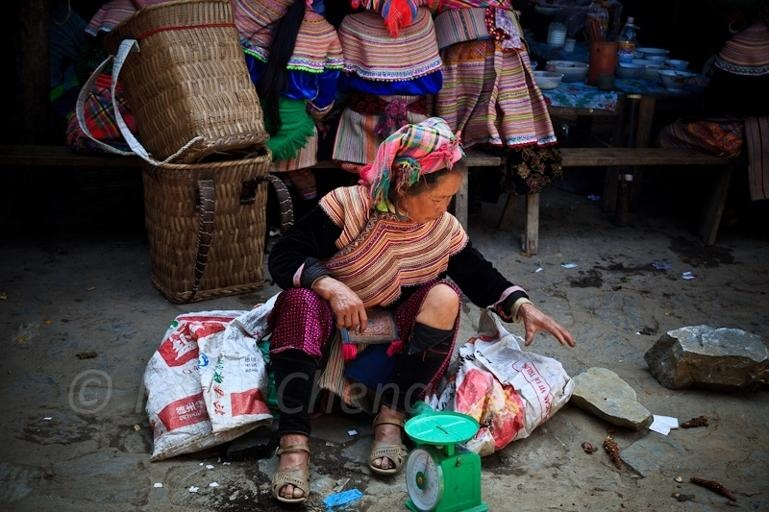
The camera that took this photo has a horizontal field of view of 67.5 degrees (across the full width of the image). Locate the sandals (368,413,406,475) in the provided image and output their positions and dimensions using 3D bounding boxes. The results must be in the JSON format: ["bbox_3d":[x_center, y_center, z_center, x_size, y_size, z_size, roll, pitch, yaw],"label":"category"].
[{"bbox_3d":[0.004,0.910,2.716,0.124,0.125,0.326,0,5,0],"label":"sandals"}]

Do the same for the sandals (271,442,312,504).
[{"bbox_3d":[-0.413,0.964,2.532,0.114,0.121,0.309,1,20,-4],"label":"sandals"}]

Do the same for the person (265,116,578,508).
[{"bbox_3d":[0.008,0.169,2.747,1.414,1.549,0.796,-11,29,-26],"label":"person"}]

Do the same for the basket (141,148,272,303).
[{"bbox_3d":[-1.099,-0.302,4.375,1.183,1.200,0.952,-9,20,-37],"label":"basket"}]
